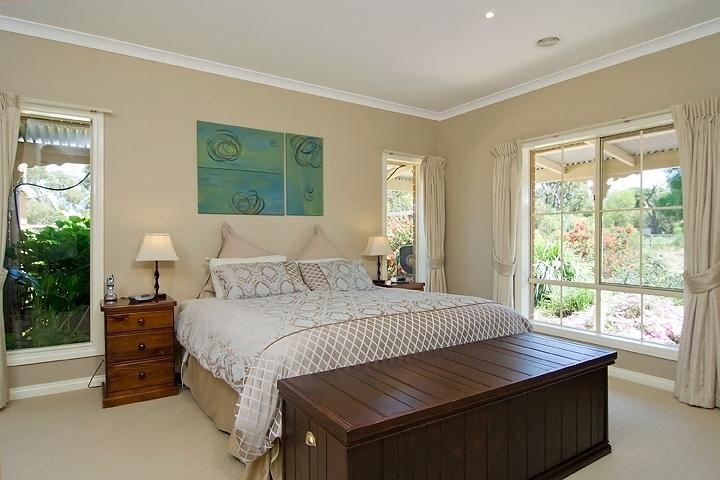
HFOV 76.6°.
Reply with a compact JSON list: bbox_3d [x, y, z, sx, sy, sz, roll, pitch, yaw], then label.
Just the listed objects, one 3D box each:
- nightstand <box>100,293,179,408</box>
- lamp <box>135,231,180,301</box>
[{"bbox_3d":[-2.371,1.163,4.875,0.716,0.968,0.631,0,-2,-34],"label":"nightstand"},{"bbox_3d":[-2.222,0.286,4.985,0.413,0.715,0.414,-1,1,-26],"label":"lamp"}]
